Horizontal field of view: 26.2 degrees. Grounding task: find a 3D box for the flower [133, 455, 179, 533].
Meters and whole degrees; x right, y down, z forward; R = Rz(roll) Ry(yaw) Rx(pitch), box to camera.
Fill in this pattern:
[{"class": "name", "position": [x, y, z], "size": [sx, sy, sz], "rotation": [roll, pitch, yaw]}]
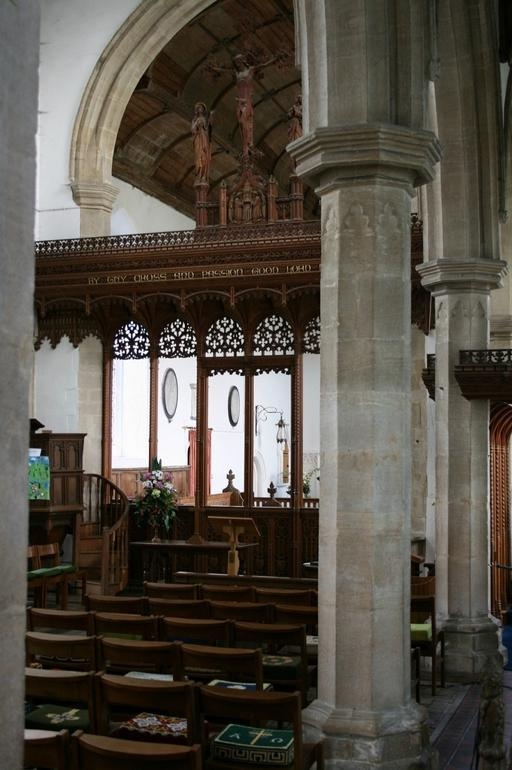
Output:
[{"class": "flower", "position": [-1.245, 1.409, 13.685], "size": [0.501, 0.969, 0.903], "rotation": [-1, -5, -6]}]
